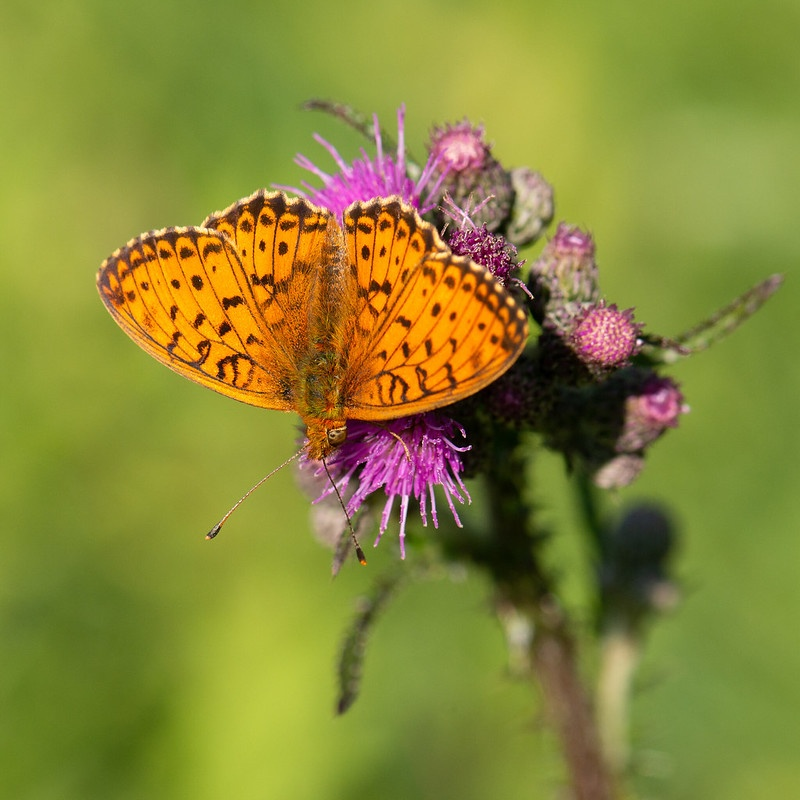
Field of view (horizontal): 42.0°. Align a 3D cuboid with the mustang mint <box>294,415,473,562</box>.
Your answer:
[{"bbox_3d":[-0.008,0.362,3.924,0.512,0.628,0.255,4,-13,30],"label":"mustang mint"}]

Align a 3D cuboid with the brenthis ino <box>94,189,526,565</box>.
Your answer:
[{"bbox_3d":[-0.306,-0.310,3.702,1.513,0.848,0.343,-14,-6,19],"label":"brenthis ino"}]
